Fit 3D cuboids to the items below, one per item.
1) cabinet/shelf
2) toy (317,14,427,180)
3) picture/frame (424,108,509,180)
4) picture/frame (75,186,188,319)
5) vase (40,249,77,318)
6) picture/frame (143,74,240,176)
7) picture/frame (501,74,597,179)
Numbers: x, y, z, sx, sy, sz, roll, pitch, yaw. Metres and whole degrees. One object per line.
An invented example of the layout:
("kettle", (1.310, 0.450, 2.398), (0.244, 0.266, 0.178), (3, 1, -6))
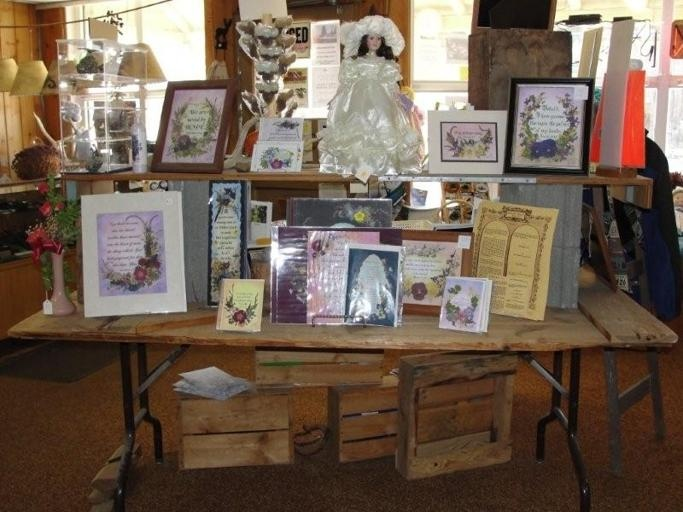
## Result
("cabinet/shelf", (-1.128, -0.708, 2.565), (0.418, 0.590, 0.289), (-6, 15, -19))
("toy", (0.145, -0.706, 2.434), (0.483, 0.704, 0.337), (0, 14, 5))
("picture/frame", (0.574, -0.489, 2.418), (0.306, 0.380, 0.016), (3, -7, -4))
("picture/frame", (-0.936, 0.000, 2.406), (0.563, 0.662, 0.051), (-2, -4, -2))
("vase", (-1.306, 0.121, 2.467), (0.131, 0.261, 0.207), (-10, 16, -29))
("picture/frame", (-0.688, -0.596, 2.503), (0.359, 0.413, 0.251), (4, 15, 20))
("picture/frame", (0.913, -0.556, 2.374), (0.470, 0.570, 0.043), (3, 0, 12))
